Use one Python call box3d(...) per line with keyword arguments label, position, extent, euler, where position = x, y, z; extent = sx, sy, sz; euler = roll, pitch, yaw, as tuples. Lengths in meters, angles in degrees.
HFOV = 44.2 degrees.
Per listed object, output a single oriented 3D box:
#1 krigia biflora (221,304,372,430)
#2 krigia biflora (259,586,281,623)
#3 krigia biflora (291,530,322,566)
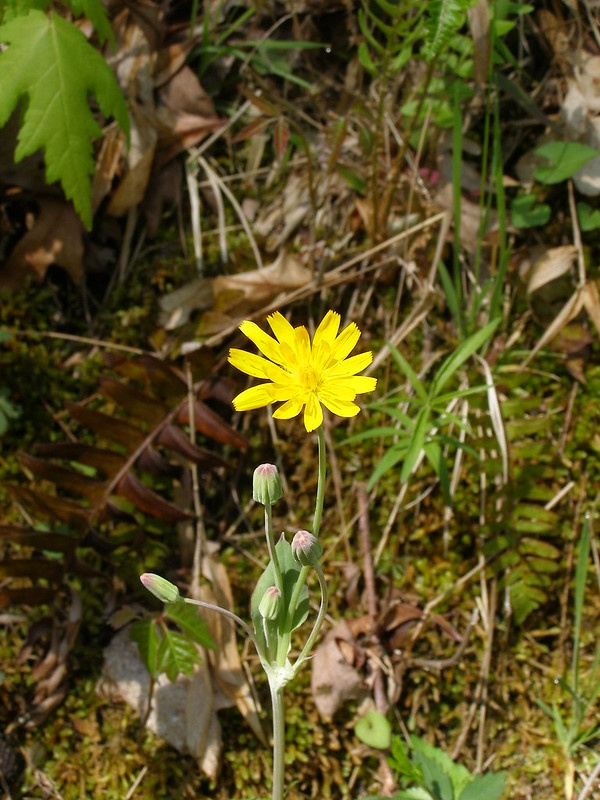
box3d(label="krigia biflora", position=(0.013, -0.079, 1.725), extent=(0.388, 0.390, 0.105), euler=(10, 77, -32))
box3d(label="krigia biflora", position=(-0.067, 0.449, 1.650), extent=(0.050, 0.076, 0.037), euler=(6, 21, -33))
box3d(label="krigia biflora", position=(0.014, 0.325, 1.594), extent=(0.059, 0.127, 0.055), euler=(-7, 41, -9))
